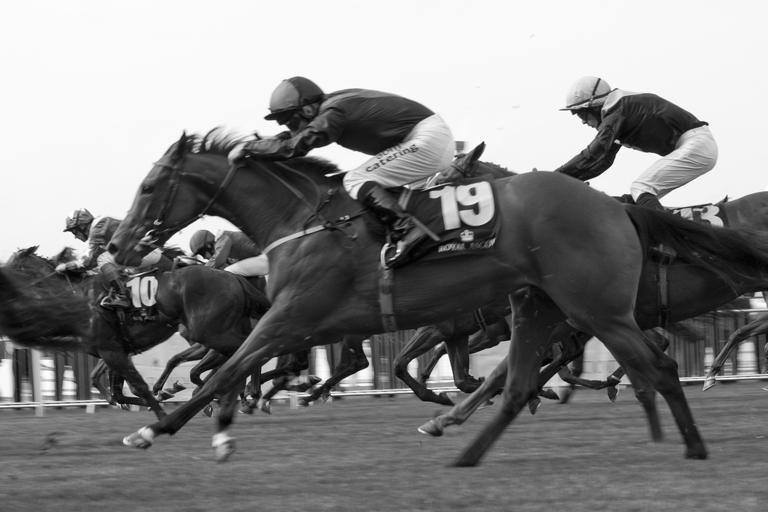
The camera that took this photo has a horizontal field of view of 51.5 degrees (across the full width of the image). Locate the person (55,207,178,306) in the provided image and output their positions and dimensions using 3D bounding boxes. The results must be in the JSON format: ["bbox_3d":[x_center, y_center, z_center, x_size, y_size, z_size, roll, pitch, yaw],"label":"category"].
[{"bbox_3d":[-3.415,-0.086,9.731,0.533,0.744,1.577,21,14,33],"label":"person"}]

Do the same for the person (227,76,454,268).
[{"bbox_3d":[-0.456,-0.759,6.134,2.238,0.995,0.972,10,14,-20],"label":"person"}]
